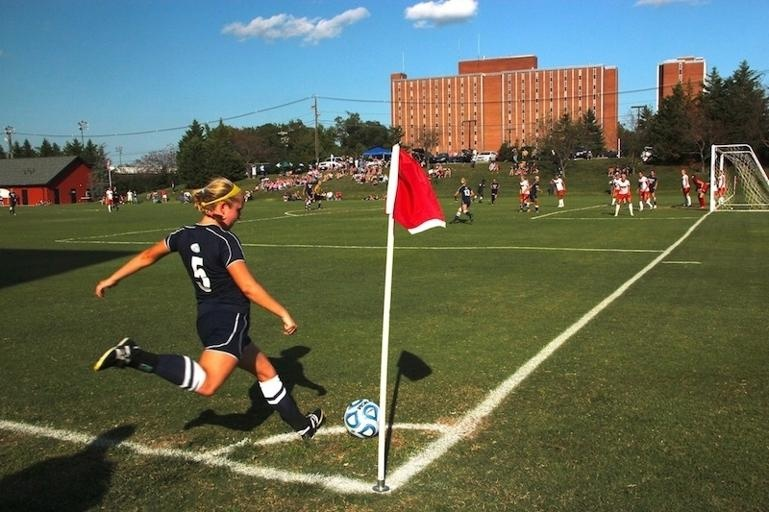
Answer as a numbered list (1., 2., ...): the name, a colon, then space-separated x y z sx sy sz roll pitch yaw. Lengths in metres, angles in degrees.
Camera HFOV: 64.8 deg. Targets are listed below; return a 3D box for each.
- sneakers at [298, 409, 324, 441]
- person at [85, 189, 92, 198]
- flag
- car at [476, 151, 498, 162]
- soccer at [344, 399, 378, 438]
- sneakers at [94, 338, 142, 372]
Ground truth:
1. sneakers: -0.754 1.720 6.194 0.118 0.156 0.362 4 24 16
2. person: -44.198 -9.373 90.656 0.370 1.604 1.567 7 -1 -42
3. flag: 0.332 -0.606 5.831 0.477 0.867 0.544 0 14 2
4. car: 16.587 -16.289 98.184 2.211 1.821 4.966 2 7 26
5. soccer: -0.195 1.616 6.180 0.341 0.359 0.400 2 4 12
6. sneakers: -2.373 0.892 5.387 0.360 0.286 0.275 -9 16 -29
